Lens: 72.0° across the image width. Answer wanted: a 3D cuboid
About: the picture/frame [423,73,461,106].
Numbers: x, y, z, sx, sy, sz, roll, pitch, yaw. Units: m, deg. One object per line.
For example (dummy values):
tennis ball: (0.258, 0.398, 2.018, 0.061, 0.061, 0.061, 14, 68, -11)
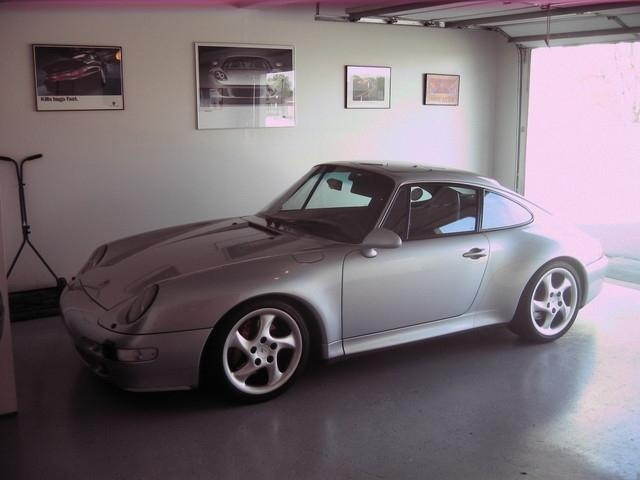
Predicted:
picture/frame: (1.917, -2.338, 6.841, 0.698, 0.481, 0.070, -7, 19, -25)
